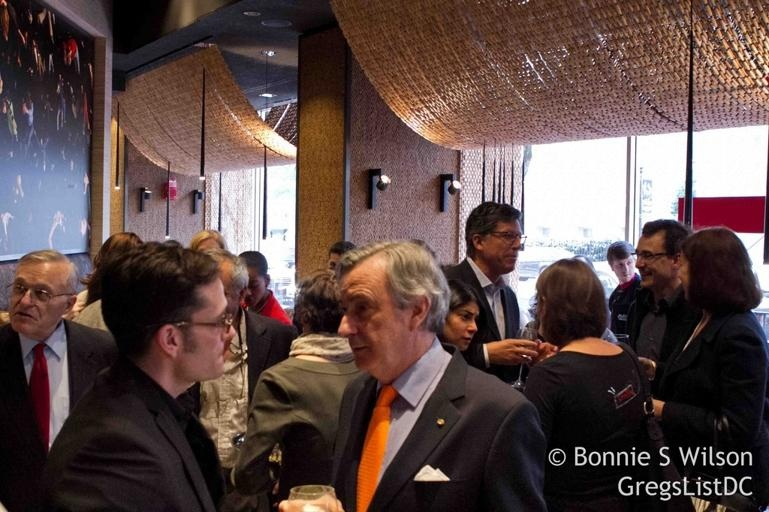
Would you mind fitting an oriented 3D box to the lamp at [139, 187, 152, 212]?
[{"bbox_3d":[-4.556,-1.058,11.138,0.146,0.463,0.132,3,0,25],"label":"lamp"}]

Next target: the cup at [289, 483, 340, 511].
[{"bbox_3d":[-0.235,0.799,1.980,0.142,0.075,0.136,3,0,0],"label":"cup"}]

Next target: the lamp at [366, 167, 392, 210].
[{"bbox_3d":[-0.035,-0.779,6.962,0.221,0.479,0.345,3,0,30],"label":"lamp"}]

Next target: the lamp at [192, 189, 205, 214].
[{"bbox_3d":[-3.925,-1.131,12.436,0.158,0.484,0.357,3,0,17],"label":"lamp"}]
